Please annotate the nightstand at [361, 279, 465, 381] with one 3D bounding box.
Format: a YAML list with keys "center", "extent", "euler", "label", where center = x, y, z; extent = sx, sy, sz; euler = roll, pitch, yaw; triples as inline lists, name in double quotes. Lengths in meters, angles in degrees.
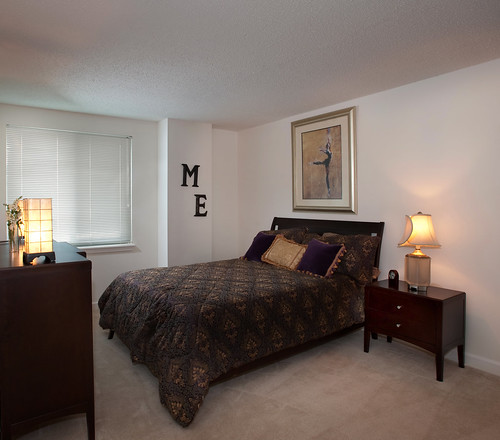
- center: [1.522, 0.980, 3.600]
  extent: [0.425, 0.733, 0.775]
  euler: [-5, 6, -34]
  label: "nightstand"

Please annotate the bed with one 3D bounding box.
- center: [-0.001, 0.800, 3.647]
  extent: [1.954, 1.169, 1.607]
  euler: [-1, 3, -34]
  label: "bed"
